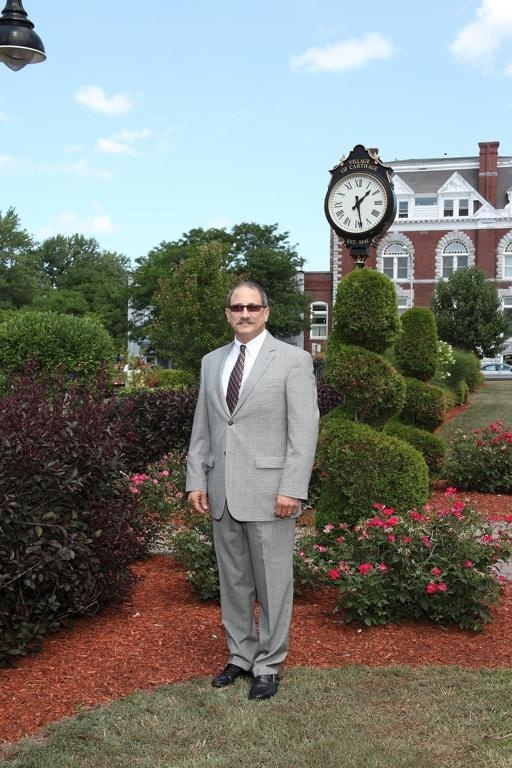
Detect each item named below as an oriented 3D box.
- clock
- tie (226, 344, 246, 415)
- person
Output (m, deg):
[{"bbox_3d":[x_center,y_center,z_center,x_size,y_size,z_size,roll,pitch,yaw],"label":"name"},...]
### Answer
[{"bbox_3d":[1.092,-2.055,8.736,0.771,1.061,0.466,0,3,19],"label":"clock"},{"bbox_3d":[-0.107,-0.011,4.235,0.067,0.373,0.037,9,-37,10],"label":"tie"},{"bbox_3d":[-0.051,0.496,4.243,0.749,2.066,0.508,2,4,39],"label":"person"}]
